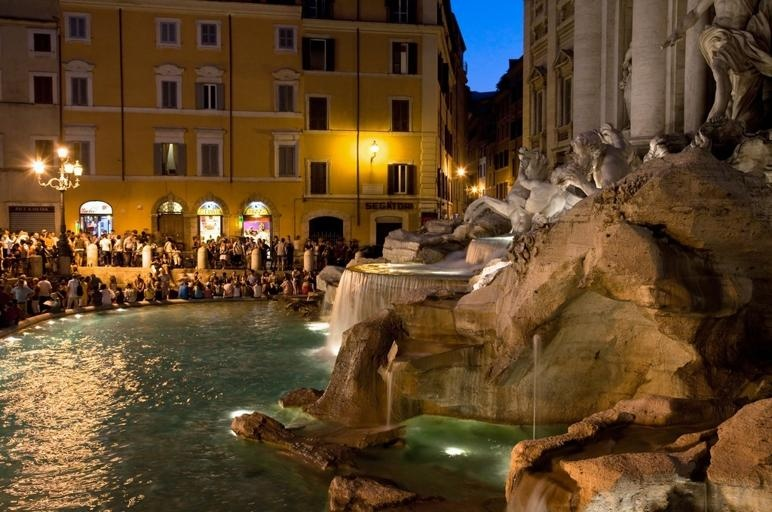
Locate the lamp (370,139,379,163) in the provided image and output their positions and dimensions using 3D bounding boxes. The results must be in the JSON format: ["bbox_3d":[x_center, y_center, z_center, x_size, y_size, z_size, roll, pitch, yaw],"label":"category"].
[{"bbox_3d":[-0.605,-5.965,36.408,0.589,1.042,1.324,-3,0,0],"label":"lamp"}]
